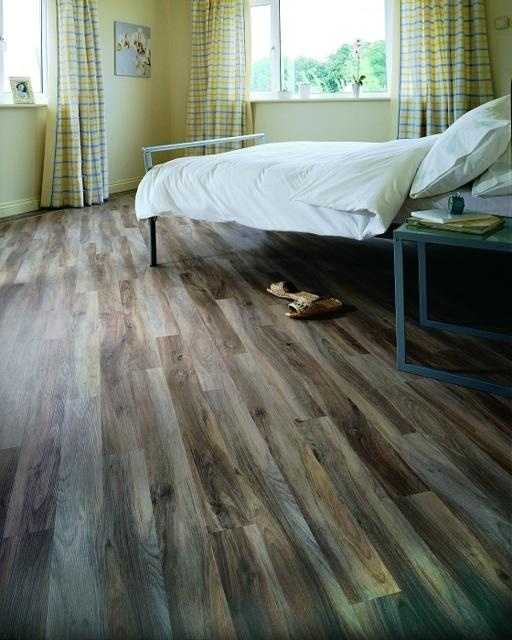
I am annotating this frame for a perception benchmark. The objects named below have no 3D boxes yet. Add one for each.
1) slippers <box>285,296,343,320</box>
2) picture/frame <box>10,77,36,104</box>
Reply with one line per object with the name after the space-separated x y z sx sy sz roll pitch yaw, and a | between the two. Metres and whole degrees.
0.300 -0.056 1.949 0.303 0.114 0.124 -14 20 -20 | slippers
-2.484 -2.451 4.001 0.213 0.317 0.126 -7 9 -35 | picture/frame
